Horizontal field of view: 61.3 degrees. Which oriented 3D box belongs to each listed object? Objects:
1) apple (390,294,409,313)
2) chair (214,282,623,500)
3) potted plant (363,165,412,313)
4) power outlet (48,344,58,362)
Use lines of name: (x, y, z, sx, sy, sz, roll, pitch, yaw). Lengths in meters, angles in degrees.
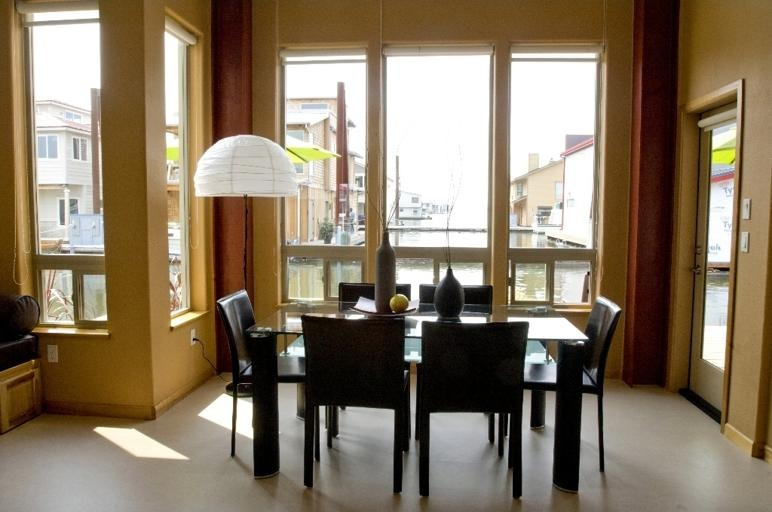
apple: (0.105, 0.395, 5.302, 0.136, 0.139, 0.137, 0, -6, -23)
chair: (0.149, 0.924, 5.930, 3.294, 1.369, 1.836, 2, 5, -1)
potted plant: (0.014, 0.124, 5.246, 0.326, 0.711, 0.209, 3, 6, 12)
power outlet: (-2.972, 0.880, 5.817, 0.104, 0.160, 0.014, 3, 6, 9)
